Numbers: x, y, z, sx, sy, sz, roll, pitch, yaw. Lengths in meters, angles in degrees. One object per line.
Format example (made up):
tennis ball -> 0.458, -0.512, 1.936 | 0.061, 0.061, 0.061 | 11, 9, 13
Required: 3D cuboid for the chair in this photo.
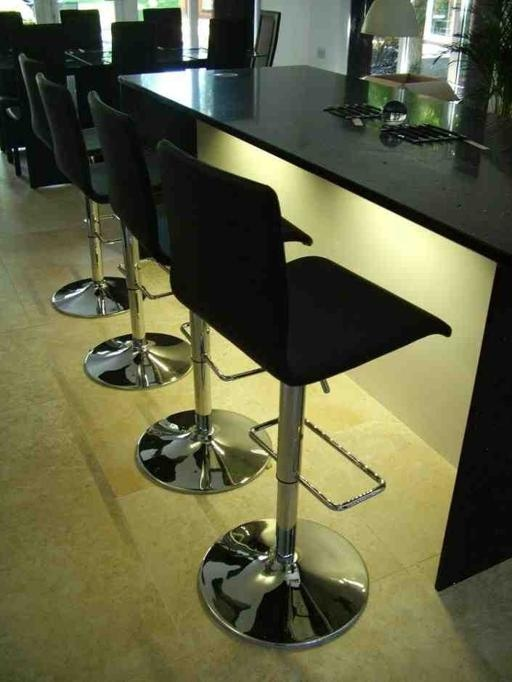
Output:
chair -> 0.017, 0.061, 1.231 | 0.427, 0.957, 0.718 | -10, 29, -23
